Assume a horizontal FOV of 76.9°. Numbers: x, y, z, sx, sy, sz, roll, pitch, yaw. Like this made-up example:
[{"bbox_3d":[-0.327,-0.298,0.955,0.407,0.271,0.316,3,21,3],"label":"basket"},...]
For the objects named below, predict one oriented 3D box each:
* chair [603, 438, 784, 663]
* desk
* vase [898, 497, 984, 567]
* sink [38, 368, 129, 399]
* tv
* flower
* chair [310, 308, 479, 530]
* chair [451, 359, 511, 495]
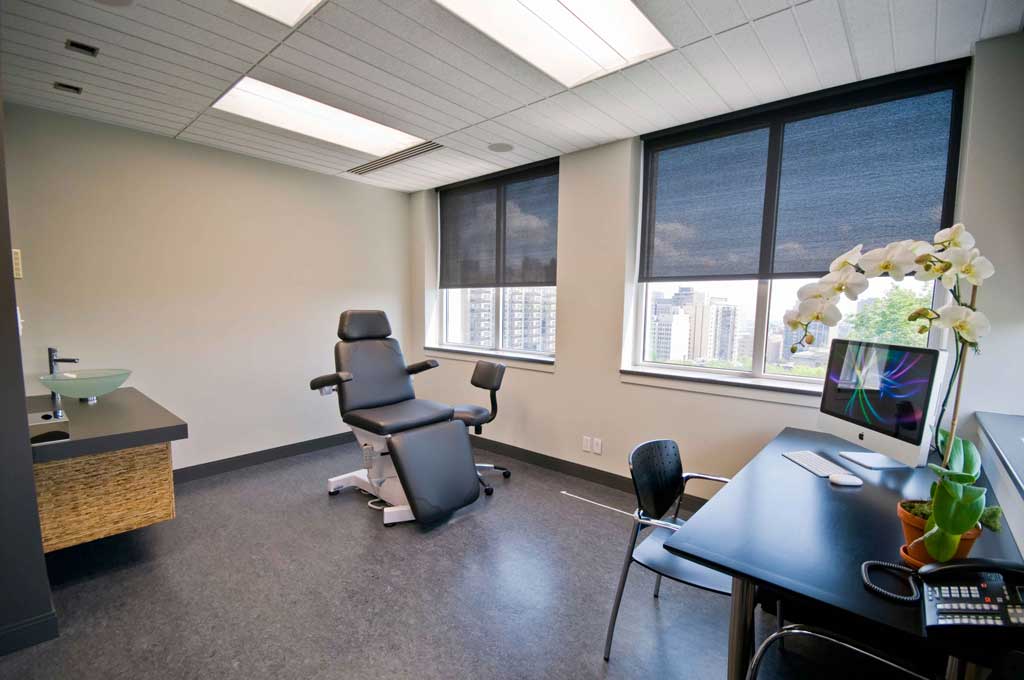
[{"bbox_3d":[0.956,1.178,3.564,1.013,1.131,0.956,-5,12,-17],"label":"chair"},{"bbox_3d":[1.433,0.470,3.039,1.011,0.846,1.819,11,19,43],"label":"desk"},{"bbox_3d":[1.923,0.863,2.936,0.327,0.232,0.323,4,5,12],"label":"vase"},{"bbox_3d":[-2.864,0.303,4.321,0.456,0.211,0.614,-4,7,-35],"label":"sink"},{"bbox_3d":[2.059,0.370,3.558,0.315,0.759,0.728,3,0,-27],"label":"tv"},{"bbox_3d":[2.007,0.212,3.119,1.320,1.505,0.739,-4,8,-33],"label":"flower"},{"bbox_3d":[-0.932,0.531,4.912,1.098,1.494,0.796,3,7,27],"label":"chair"},{"bbox_3d":[-0.350,0.672,5.264,0.687,0.958,0.633,3,4,17],"label":"chair"}]
